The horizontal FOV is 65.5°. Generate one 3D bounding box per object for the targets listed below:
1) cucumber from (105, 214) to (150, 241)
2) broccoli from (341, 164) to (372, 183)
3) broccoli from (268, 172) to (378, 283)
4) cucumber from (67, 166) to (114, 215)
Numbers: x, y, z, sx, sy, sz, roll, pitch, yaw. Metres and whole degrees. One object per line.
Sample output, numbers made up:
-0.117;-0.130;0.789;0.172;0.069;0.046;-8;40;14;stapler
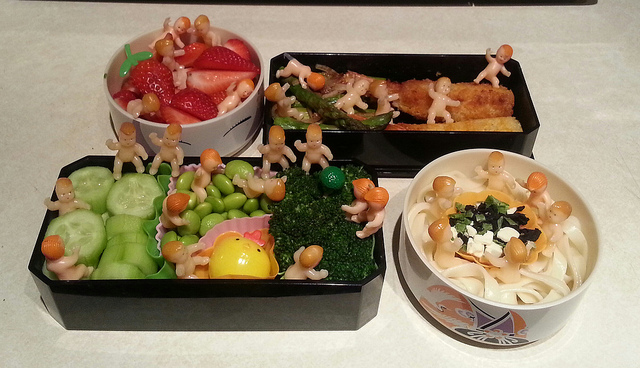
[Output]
-1.021;0.234;2.704;0.259;0.140;0.167;0;94;17;cucumber
0.194;-0.058;2.759;0.106;0.038;0.111;-1;55;-2;broccoli
0.002;0.223;2.627;0.529;0.240;0.594;-3;57;-5;broccoli
-1.237;0.008;2.776;0.262;0.166;0.243;6;47;-5;cucumber
